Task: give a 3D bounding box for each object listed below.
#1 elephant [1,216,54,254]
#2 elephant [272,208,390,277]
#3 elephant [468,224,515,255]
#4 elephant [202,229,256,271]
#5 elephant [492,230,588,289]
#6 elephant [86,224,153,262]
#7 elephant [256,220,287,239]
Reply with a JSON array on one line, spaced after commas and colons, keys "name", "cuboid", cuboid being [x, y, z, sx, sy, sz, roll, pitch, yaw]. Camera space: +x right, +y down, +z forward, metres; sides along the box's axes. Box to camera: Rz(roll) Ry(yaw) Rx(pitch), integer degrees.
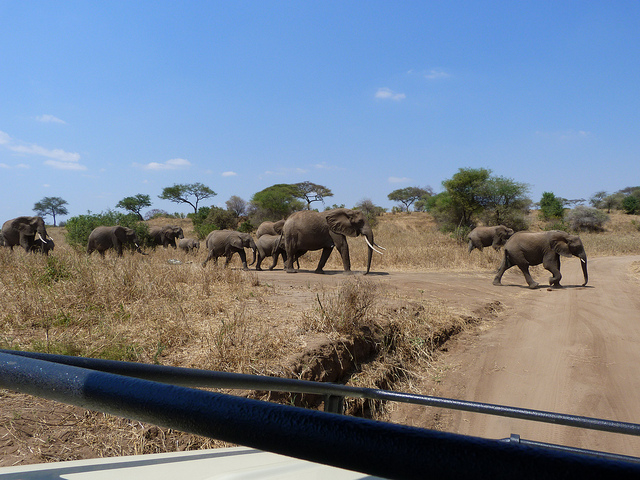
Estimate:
[{"name": "elephant", "cuboid": [-11.406, -0.265, 19.099, 1.227, 1.327, 1.548, -1, 1, -43]}, {"name": "elephant", "cuboid": [0.145, 0.037, 14.926, 2.788, 1.931, 0.936, 0, 1, 18]}, {"name": "elephant", "cuboid": [7.814, 0.013, 22.124, 2.654, 1.350, 0.989, -6, 13, 15]}, {"name": "elephant", "cuboid": [-3.126, 0.342, 16.870, 1.928, 1.379, 0.832, 1, 3, 11]}, {"name": "elephant", "cuboid": [5.764, 0.518, 12.933, 2.301, 1.535, 0.907, 0, 3, 20]}, {"name": "elephant", "cuboid": [-7.829, 0.081, 18.974, 2.787, 1.383, 1.291, -3, 5, -21]}, {"name": "elephant", "cuboid": [-1.972, -0.353, 19.604, 1.469, 0.833, 0.726, -3, 8, 17]}]
